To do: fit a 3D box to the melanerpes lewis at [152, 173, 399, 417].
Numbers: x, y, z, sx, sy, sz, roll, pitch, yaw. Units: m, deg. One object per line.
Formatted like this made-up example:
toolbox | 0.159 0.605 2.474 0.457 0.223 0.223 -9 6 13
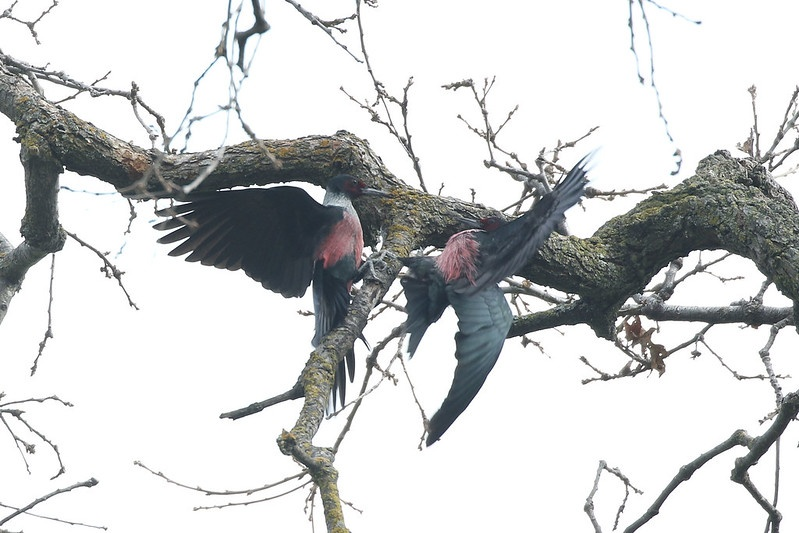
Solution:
melanerpes lewis | -0.833 -0.126 10.683 1.352 0.751 0.753 27 -64 -16
